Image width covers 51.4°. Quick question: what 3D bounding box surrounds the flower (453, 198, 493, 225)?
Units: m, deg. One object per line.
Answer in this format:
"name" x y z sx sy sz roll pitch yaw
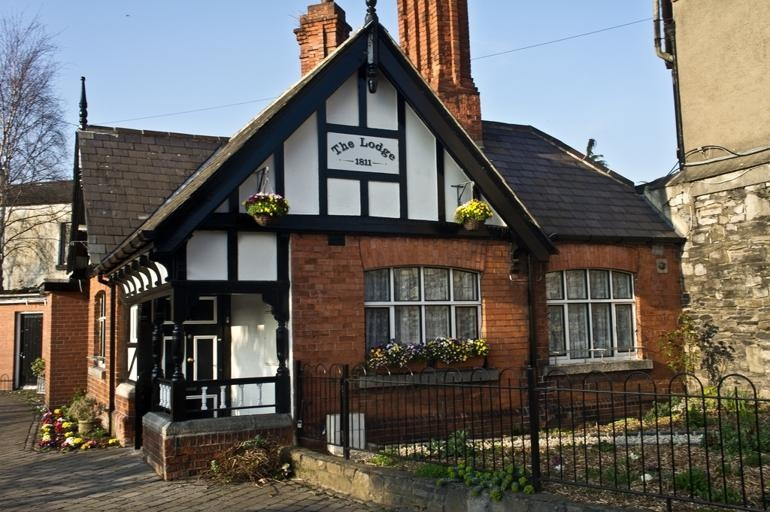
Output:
"flower" 1.808 -0.916 16.901 0.594 0.321 0.589 -1 -4 23

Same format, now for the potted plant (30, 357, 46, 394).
"potted plant" -12.209 4.220 28.219 0.373 0.956 2.809 -1 0 -26

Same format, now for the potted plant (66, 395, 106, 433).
"potted plant" -7.317 3.839 19.635 0.812 0.953 0.893 5 -8 -24

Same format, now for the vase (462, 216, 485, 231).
"vase" 1.825 -0.679 16.891 0.300 0.135 0.298 -4 -7 26

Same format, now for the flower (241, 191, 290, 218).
"flower" -2.302 -0.982 15.438 0.555 0.311 0.546 4 -5 -31
